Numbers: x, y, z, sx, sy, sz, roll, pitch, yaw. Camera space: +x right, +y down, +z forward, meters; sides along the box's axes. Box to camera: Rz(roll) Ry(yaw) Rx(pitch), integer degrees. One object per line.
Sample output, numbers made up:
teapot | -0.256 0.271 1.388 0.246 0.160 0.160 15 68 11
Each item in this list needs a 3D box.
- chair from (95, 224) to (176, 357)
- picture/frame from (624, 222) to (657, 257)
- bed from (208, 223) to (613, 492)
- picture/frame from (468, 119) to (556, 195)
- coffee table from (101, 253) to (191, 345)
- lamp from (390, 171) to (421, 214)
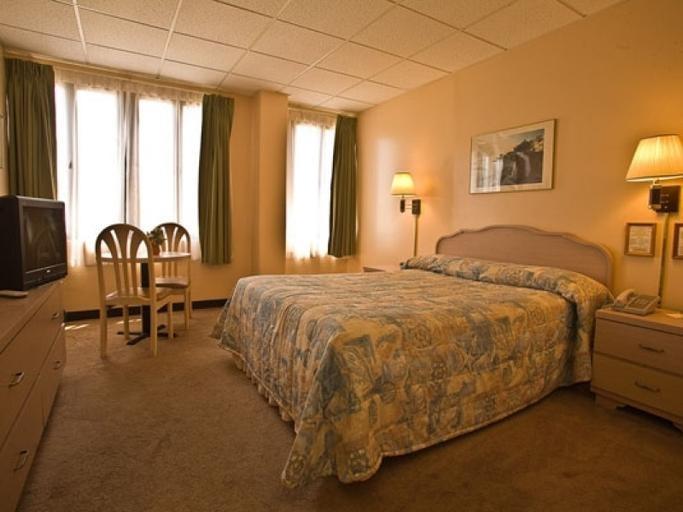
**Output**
chair | -1.950 0.252 4.510 0.596 1.228 0.624 6 12 14
picture/frame | 2.403 -0.138 3.859 0.039 0.372 0.250 -1 2 -41
bed | 0.644 0.585 3.616 2.303 1.089 1.888 -7 10 -29
picture/frame | 1.679 -0.975 4.656 0.026 0.612 0.781 -2 3 -37
coffee table | -1.939 0.338 4.673 0.548 0.962 0.623 2 6 16
lamp | 0.770 -0.748 5.705 0.333 0.525 0.481 0 7 10
